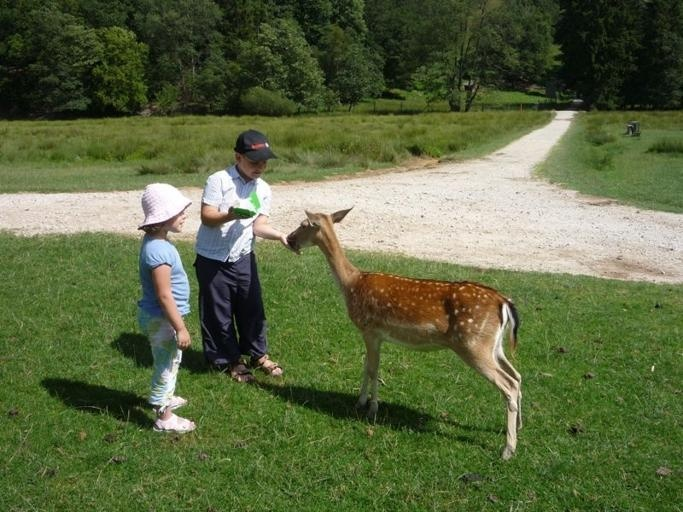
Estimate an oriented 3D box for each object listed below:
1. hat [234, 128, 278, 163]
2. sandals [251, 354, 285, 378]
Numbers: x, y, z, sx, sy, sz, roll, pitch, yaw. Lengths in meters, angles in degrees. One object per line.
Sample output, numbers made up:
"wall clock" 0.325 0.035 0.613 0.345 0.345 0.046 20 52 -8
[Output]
"hat" -1.310 -1.678 10.646 0.540 0.421 0.738 -11 18 -33
"sandals" -1.181 1.747 11.351 0.517 0.246 0.279 18 45 27
